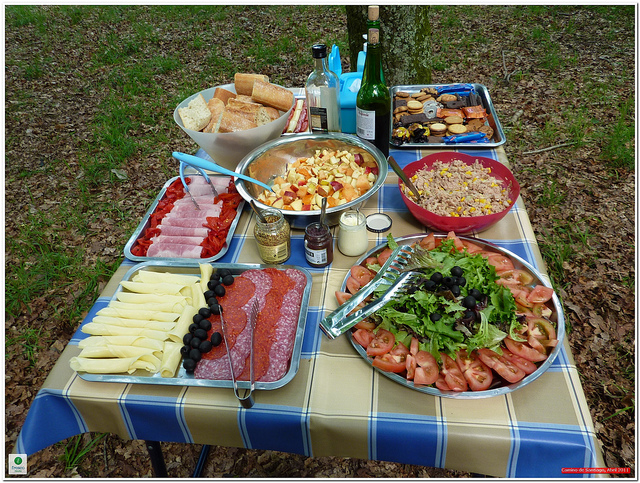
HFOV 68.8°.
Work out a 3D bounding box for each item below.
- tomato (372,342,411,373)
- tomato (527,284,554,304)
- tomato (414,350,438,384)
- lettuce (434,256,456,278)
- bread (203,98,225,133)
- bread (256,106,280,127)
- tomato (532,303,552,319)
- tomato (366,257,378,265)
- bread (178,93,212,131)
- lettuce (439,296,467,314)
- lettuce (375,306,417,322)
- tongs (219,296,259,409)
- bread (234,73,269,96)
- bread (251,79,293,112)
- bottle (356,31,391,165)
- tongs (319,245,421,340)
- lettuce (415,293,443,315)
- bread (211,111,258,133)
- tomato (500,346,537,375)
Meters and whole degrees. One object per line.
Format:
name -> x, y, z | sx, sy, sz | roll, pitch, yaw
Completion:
tomato -> 0.407, 0.663, 2.595 | 0.217, 0.071, 0.127 | -22, 51, -12
tomato -> 1.250, 0.286, 2.663 | 0.104, 0.029, 0.094 | 7, 60, 29
tomato -> 0.586, 0.691, 2.562 | 0.122, 0.060, 0.167 | 4, 51, 10
lettuce -> 0.731, 0.135, 2.664 | 0.084, 0.035, 0.120 | -15, 24, 27
bread -> -0.803, -0.937, 3.568 | 0.155, 0.071, 0.300 | 7, 62, 4
bread -> -0.399, -0.920, 3.586 | 0.184, 0.059, 0.172 | -6, 58, -4
tomato -> 1.264, 0.397, 2.663 | 0.088, 0.043, 0.080 | 33, 82, 16
tomato -> 0.329, 0.117, 2.894 | 0.043, 0.024, 0.042 | -27, 41, -33
bread -> -0.939, -0.954, 3.558 | 0.254, 0.070, 0.253 | -39, 76, -6
lettuce -> 0.723, 0.347, 2.541 | 0.144, 0.053, 0.073 | 5, 51, 10
lettuce -> 0.434, 0.409, 2.618 | 0.220, 0.073, 0.064 | 8, 52, 13
tongs -> -0.441, 0.618, 2.606 | 0.235, 0.205, 0.550 | -5, 64, -4
bread -> -0.546, -1.268, 3.747 | 0.259, 0.190, 0.191 | 5, 35, 9
bread -> -0.367, -1.113, 3.658 | 0.313, 0.111, 0.186 | 21, 71, -7
bottle -> 0.415, -1.010, 3.418 | 0.287, 1.035, 0.228 | 0, 34, 9
tongs -> 0.339, 0.276, 2.689 | 0.838, 0.057, 0.290 | -39, 66, -17
lettuce -> 0.590, 0.349, 2.557 | 0.119, 0.117, 0.057 | -3, 21, 7
bread -> -0.625, -0.866, 3.407 | 0.299, 0.108, 0.163 | 7, 55, -4
tomato -> 1.088, 0.659, 2.562 | 0.174, 0.047, 0.093 | 40, 70, 18
